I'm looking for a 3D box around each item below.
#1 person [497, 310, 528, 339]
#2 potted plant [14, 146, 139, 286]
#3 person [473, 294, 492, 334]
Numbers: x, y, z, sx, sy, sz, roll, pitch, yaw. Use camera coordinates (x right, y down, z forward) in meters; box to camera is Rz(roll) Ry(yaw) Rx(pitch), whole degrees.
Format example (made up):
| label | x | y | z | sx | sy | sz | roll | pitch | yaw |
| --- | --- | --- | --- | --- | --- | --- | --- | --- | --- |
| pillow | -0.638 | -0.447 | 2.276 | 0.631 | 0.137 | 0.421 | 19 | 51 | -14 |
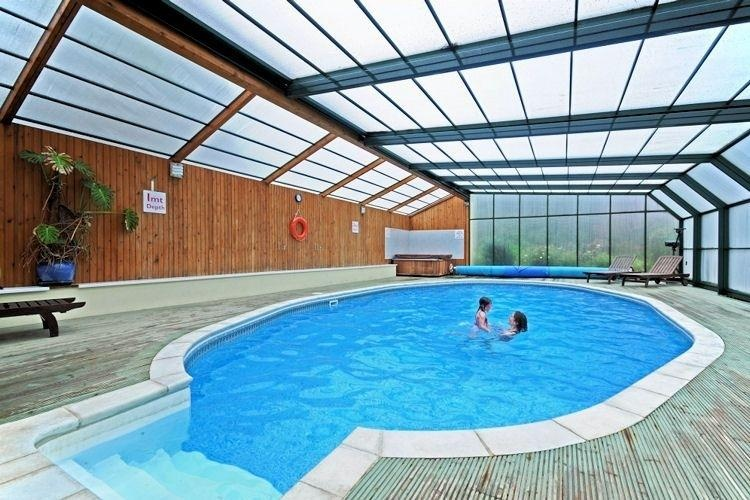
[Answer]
| label | x | y | z | sx | sy | sz | roll | pitch | yaw |
| --- | --- | --- | --- | --- | --- | --- | --- | --- | --- |
| person | 2.814 | 1.524 | 7.387 | 0.369 | 0.584 | 0.816 | 11 | 16 | 37 |
| potted plant | -6.056 | -0.664 | 7.225 | 0.906 | 2.654 | 1.571 | 8 | 16 | 29 |
| person | 2.354 | 1.281 | 7.896 | 0.315 | 0.985 | 1.422 | 5 | 13 | 18 |
